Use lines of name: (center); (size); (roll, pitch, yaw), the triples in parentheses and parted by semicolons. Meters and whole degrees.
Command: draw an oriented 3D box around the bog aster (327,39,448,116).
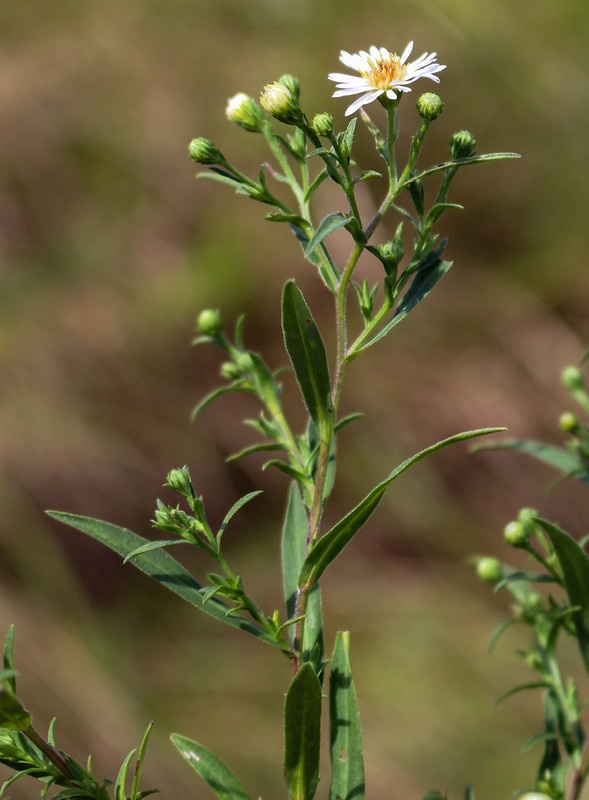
bog aster: (0.095, -0.299, 0.864); (0.094, 0.028, 0.092); (-7, -11, 8)
